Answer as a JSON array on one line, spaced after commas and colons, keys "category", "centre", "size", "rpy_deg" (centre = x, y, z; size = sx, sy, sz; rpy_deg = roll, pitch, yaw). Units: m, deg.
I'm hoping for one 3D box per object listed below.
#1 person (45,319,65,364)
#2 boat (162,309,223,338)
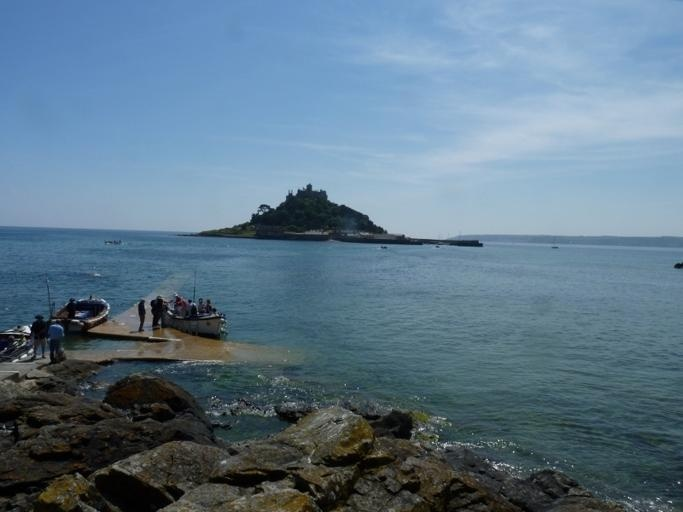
[{"category": "person", "centre": [-12.767, 3.853, 24.386], "size": [0.539, 1.562, 1.248], "rpy_deg": [-1, 9, -29]}, {"category": "boat", "centre": [-8.946, 3.985, 32.524], "size": [4.113, 1.295, 0.841], "rpy_deg": [6, 8, 33]}]
